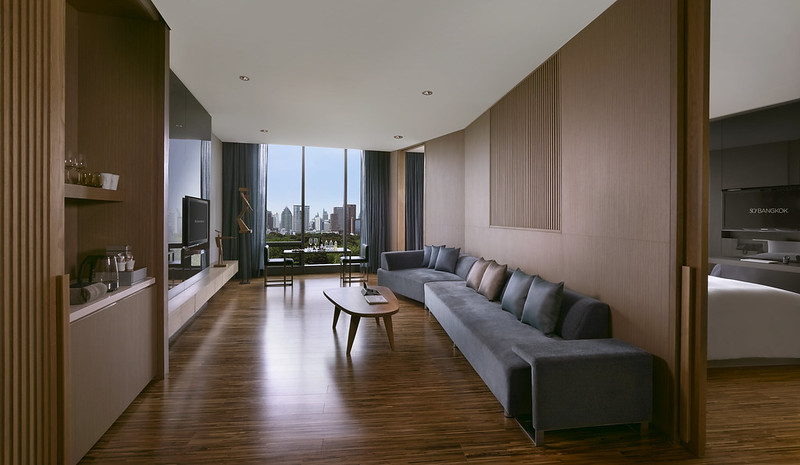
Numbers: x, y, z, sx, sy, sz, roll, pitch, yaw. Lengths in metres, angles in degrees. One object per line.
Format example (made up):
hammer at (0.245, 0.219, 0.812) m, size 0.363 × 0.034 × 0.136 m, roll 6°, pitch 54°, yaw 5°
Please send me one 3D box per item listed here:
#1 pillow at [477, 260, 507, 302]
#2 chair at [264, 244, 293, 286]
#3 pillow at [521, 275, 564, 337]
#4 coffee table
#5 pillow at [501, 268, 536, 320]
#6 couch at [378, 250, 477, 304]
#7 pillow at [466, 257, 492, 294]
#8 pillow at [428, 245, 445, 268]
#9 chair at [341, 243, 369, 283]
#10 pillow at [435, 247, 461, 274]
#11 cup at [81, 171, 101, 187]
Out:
pillow at (1.233, 0.649, 6.828) m, size 0.139 × 0.417 × 0.460 m, roll 21°, pitch 2°, yaw -17°
chair at (-2.378, 0.665, 10.117) m, size 0.594 × 0.733 × 0.538 m, roll 0°, pitch 2°, yaw -11°
pillow at (1.617, 0.810, 5.894) m, size 0.319 × 0.564 × 0.616 m, roll -4°, pitch 4°, yaw -11°
coffee table at (-0.505, 1.180, 6.788) m, size 0.882 × 0.511 × 1.417 m, roll 3°, pitch 3°, yaw -19°
pillow at (1.417, 0.759, 6.155) m, size 0.273 × 0.494 × 0.542 m, roll -5°, pitch 0°, yaw -11°
couch at (0.138, 0.809, 9.557) m, size 1.053 × 0.605 × 1.380 m, roll 13°, pitch 2°, yaw 13°
pillow at (1.090, 0.607, 7.277) m, size 0.125 × 0.378 × 0.408 m, roll 17°, pitch 6°, yaw -12°
pillow at (0.604, 0.438, 9.128) m, size 0.113 × 0.345 × 0.379 m, roll 12°, pitch -4°, yaw -11°
chair at (-0.958, 0.602, 10.643) m, size 0.510 × 0.750 × 1.737 m, roll -1°, pitch 5°, yaw -6°
pillow at (0.823, 0.497, 8.766) m, size 0.197 × 0.357 × 0.431 m, roll 0°, pitch 3°, yaw -36°
cup at (-3.140, -0.544, 5.246) m, size 0.176 × 0.123 × 0.165 m, roll 3°, pitch 7°, yaw 0°
